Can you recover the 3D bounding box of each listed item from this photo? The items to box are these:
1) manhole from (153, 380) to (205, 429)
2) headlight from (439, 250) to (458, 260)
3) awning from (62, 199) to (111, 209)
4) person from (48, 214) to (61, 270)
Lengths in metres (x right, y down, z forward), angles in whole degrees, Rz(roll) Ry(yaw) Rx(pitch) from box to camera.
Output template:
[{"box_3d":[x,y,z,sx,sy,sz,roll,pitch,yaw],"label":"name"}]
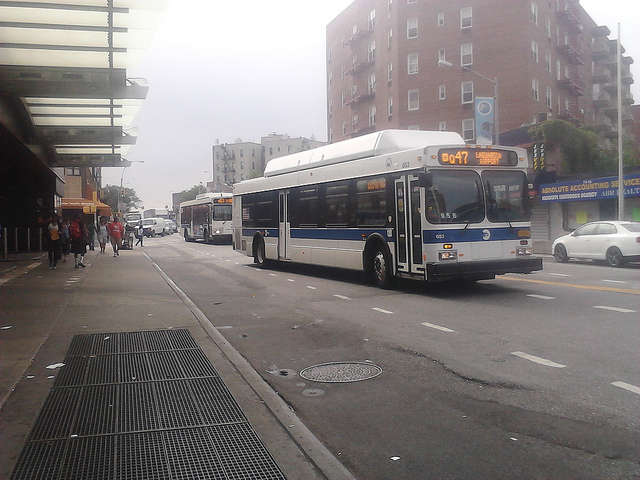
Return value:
[{"box_3d":[-1.550,1.810,5.576,0.406,0.068,1.257,-3,1,-22],"label":"manhole"},{"box_3d":[3.093,0.377,12.424,0.502,0.226,0.051,-3,2,-22],"label":"headlight"},{"box_3d":[-22.032,-3.371,48.497,3.732,1.090,4.038,-3,9,-34],"label":"awning"},{"box_3d":[-11.035,0.117,21.412,0.434,2.225,1.174,-3,2,-28],"label":"person"}]
